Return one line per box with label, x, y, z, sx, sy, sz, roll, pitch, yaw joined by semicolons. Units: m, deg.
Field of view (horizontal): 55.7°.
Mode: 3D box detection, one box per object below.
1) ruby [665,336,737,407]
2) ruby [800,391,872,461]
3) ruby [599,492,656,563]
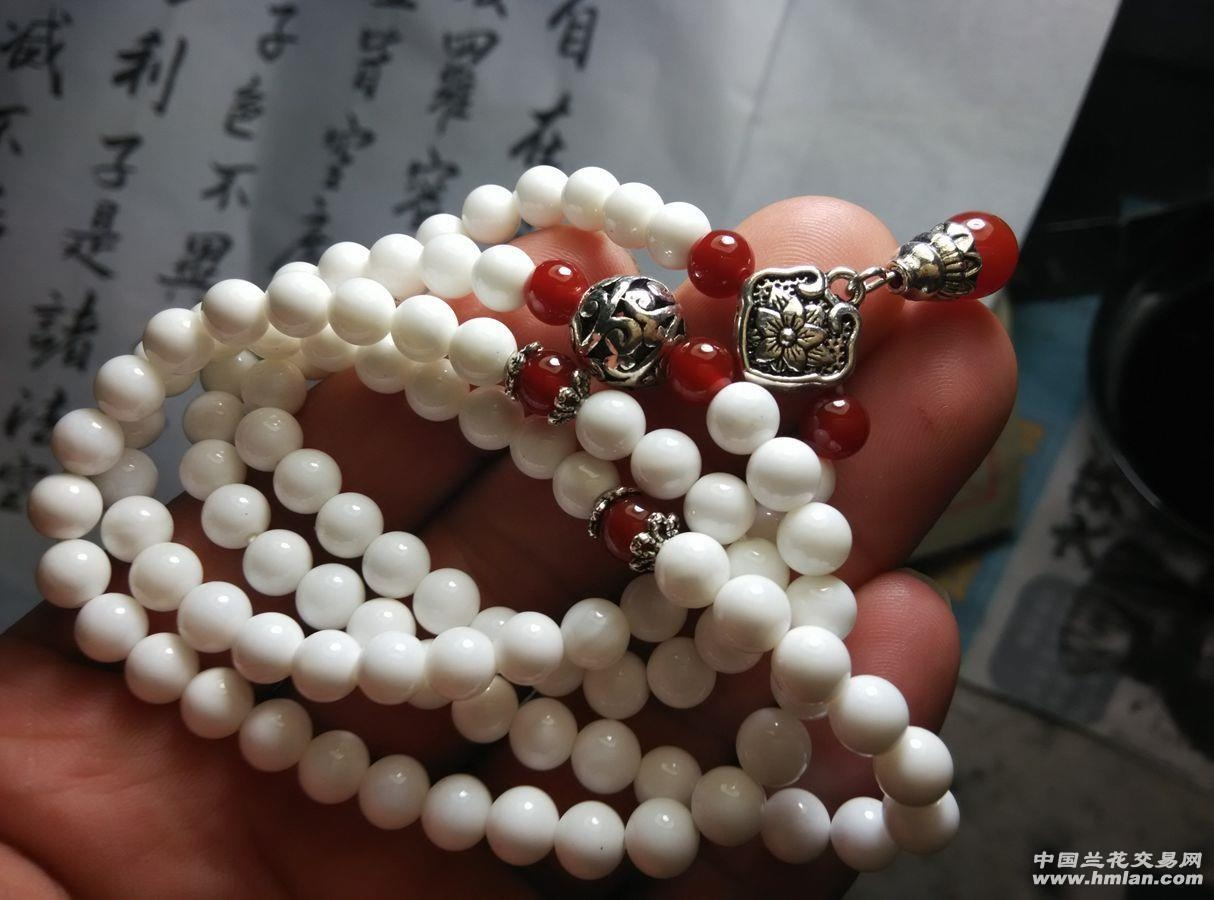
ruby;0.168;-0.144;2.017;0.105;0.112;0.082;27;13;-1
ruby;0.405;-0.034;2.034;0.105;0.108;0.085;-16;39;-28
ruby;0.035;0.139;1.997;0.088;0.114;0.060;-1;-11;32
